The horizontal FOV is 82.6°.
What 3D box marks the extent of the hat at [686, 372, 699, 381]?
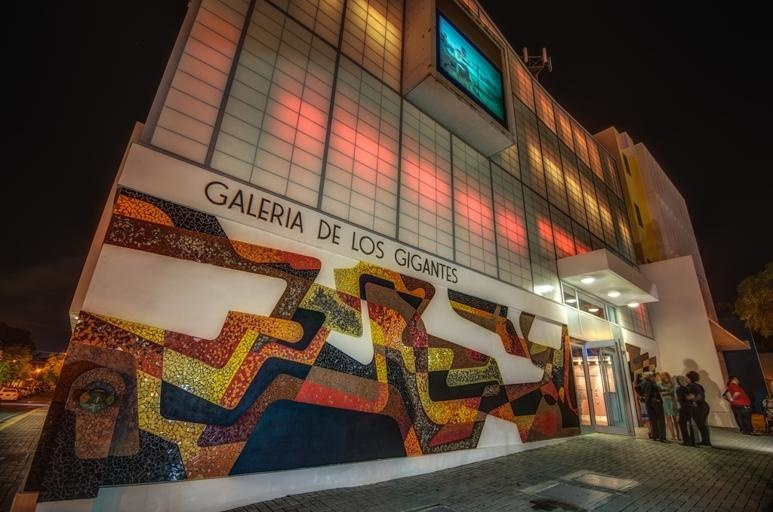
[{"bbox_3d":[8.656,3.406,12.449,0.321,0.137,0.463,0,-19,26],"label":"hat"}]
